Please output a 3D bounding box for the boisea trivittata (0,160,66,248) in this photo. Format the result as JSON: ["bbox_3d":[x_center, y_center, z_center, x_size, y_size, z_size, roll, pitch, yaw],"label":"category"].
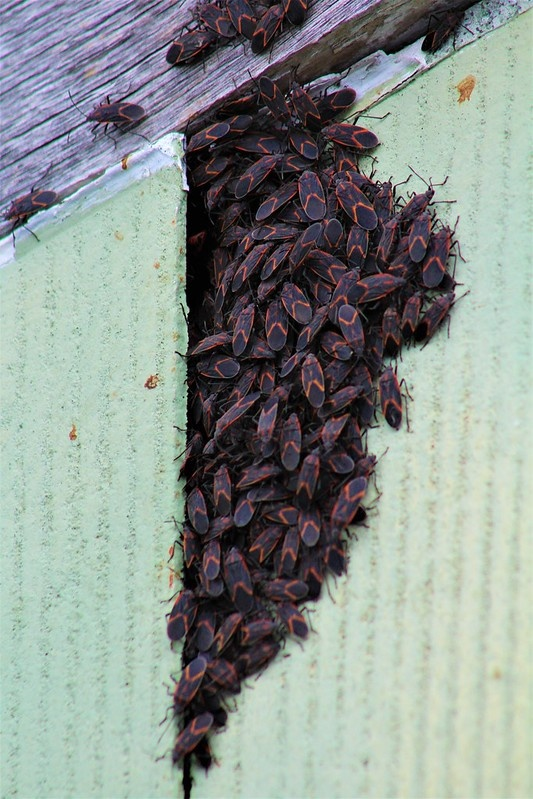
[{"bbox_3d":[-0.739,-0.589,3.232,0.204,0.062,0.146,-38,79,24],"label":"boisea trivittata"}]

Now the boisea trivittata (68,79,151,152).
[{"bbox_3d":[-0.496,-0.877,3.165,0.187,0.050,0.137,-6,72,7],"label":"boisea trivittata"}]
